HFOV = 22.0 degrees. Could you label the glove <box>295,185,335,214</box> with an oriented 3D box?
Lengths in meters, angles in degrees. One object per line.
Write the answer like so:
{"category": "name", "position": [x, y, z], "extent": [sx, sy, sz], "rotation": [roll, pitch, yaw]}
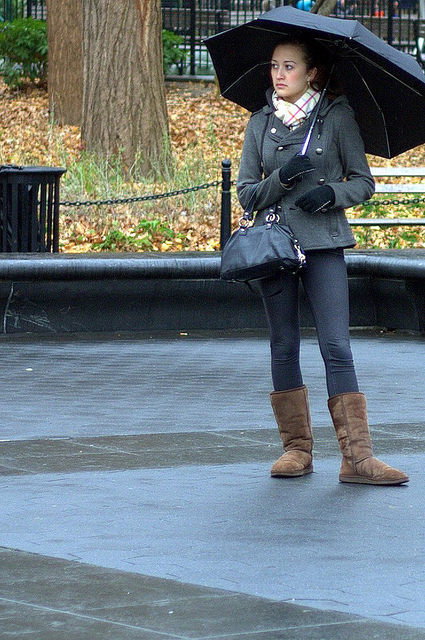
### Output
{"category": "glove", "position": [0.387, -0.463, 4.244], "extent": [0.122, 0.111, 0.130], "rotation": [-6, 9, -31]}

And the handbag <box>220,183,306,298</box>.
{"category": "handbag", "position": [0.203, -0.307, 4.307], "extent": [0.412, 0.456, 0.286], "rotation": [6, 11, 43]}

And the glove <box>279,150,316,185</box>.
{"category": "glove", "position": [0.318, -0.570, 4.234], "extent": [0.053, 0.140, 0.101], "rotation": [26, 28, -37]}

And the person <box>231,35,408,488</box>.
{"category": "person", "position": [0.417, -0.244, 4.376], "extent": [0.729, 1.771, 0.464], "rotation": [2, 10, 22]}

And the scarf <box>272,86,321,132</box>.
{"category": "scarf", "position": [0.330, -0.836, 4.388], "extent": [0.196, 0.177, 0.129], "rotation": [0, 8, 12]}

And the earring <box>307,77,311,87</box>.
{"category": "earring", "position": [0.379, -0.946, 4.372], "extent": [0.015, 0.046, 0.012], "rotation": [-18, 41, -15]}
